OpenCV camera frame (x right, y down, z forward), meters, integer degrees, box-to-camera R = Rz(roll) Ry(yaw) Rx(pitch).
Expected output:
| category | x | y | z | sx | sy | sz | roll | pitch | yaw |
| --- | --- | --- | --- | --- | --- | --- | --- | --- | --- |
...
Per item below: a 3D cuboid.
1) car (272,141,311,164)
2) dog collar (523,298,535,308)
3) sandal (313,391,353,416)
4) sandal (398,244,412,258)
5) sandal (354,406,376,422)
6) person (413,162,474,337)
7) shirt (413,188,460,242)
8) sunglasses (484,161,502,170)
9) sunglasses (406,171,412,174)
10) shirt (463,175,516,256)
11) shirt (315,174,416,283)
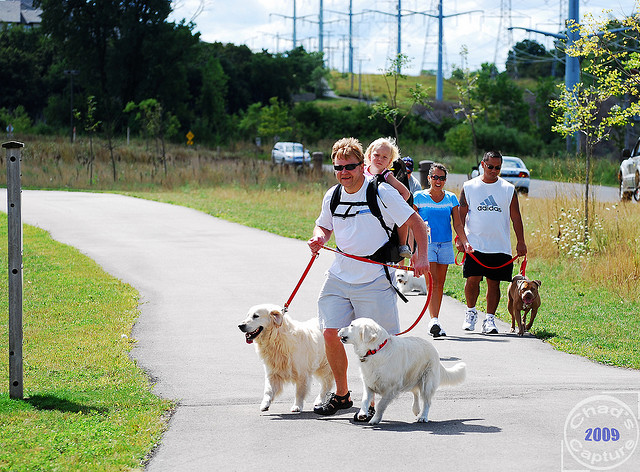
| category | x | y | z | sx | sy | sz | roll | pitch | yaw |
| --- | --- | --- | --- | --- | --- | --- | --- | --- | --- |
| car | -1.635 | -4.757 | 61.789 | 1.374 | 1.095 | 3.004 | -2 | 3 | -16 |
| dog collar | 3.461 | 1.109 | 17.880 | 0.167 | 0.159 | 0.039 | -1 | -5 | 5 |
| sandal | 0.201 | 2.267 | 14.601 | 0.583 | 0.269 | 0.214 | -6 | 8 | -16 |
| sandal | 1.126 | 0.213 | 14.345 | 0.092 | 0.166 | 0.242 | -9 | -33 | 38 |
| sandal | 0.634 | 2.367 | 14.200 | 0.375 | 0.252 | 0.122 | 4 | -3 | -4 |
| person | 1.931 | 0.161 | 17.865 | 1.004 | 3.016 | 1.013 | 3 | 8 | 13 |
| shirt | 1.835 | -0.327 | 17.180 | 0.835 | 0.806 | 0.410 | 1 | -7 | -16 |
| sunglasses | 2.812 | -1.150 | 17.691 | 0.238 | 0.104 | 0.073 | 3 | 11 | 10 |
| sunglasses | 1.433 | -1.033 | 17.364 | 0.066 | 0.067 | 0.066 | 1 | 5 | 14 |
| shirt | 2.776 | -0.329 | 17.830 | 1.189 | 1.670 | 0.977 | 2 | 8 | 8 |
| shirt | 0.563 | -0.135 | 14.513 | 1.560 | 1.445 | 0.587 | 2 | 11 | 28 |
